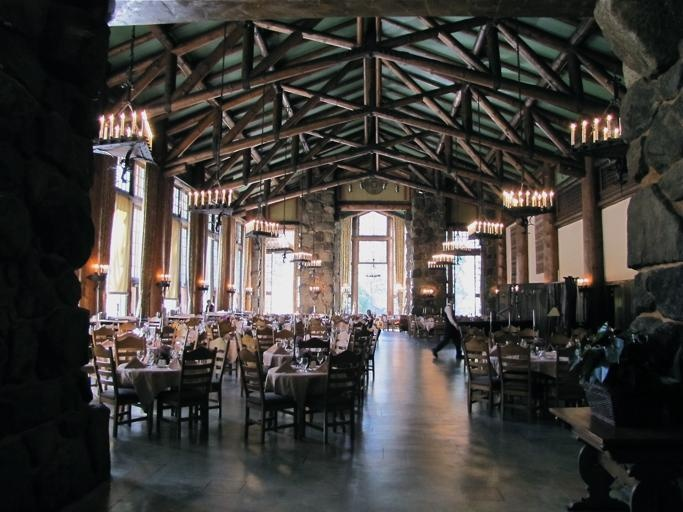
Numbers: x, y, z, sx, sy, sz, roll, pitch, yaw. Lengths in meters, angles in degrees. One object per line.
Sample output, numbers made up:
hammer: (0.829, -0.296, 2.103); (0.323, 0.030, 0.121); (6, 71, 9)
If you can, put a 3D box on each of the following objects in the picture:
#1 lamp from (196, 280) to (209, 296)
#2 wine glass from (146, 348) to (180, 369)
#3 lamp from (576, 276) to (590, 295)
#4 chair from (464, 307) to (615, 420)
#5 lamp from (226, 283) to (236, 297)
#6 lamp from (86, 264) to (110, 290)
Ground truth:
lamp: (-4.470, 1.017, 20.454); (0.172, 0.598, 0.592); (-2, -4, 20)
wine glass: (-2.136, 1.262, 7.658); (0.345, 0.121, 0.268); (8, -6, -8)
lamp: (5.193, 0.632, 13.980); (0.286, 0.589, 0.301); (-1, -3, 15)
chair: (2.349, 1.579, 8.381); (1.486, 1.001, 1.336); (-2, -8, 17)
lamp: (-4.381, 1.351, 24.986); (0.353, 0.765, 0.366); (-4, 6, -35)
lamp: (-4.979, 0.412, 13.073); (0.410, 0.470, 0.188); (5, -2, -1)
